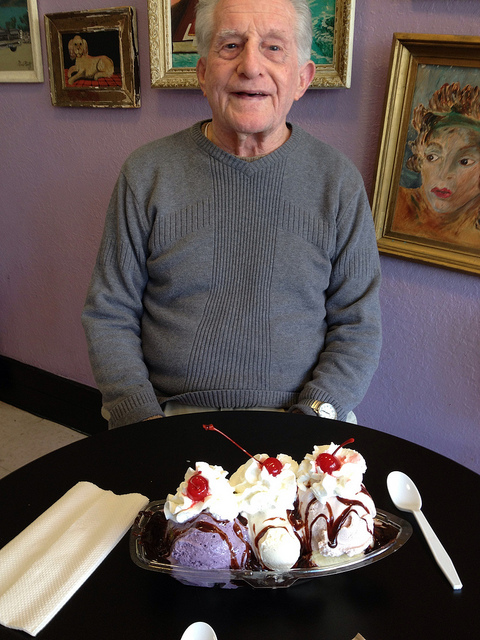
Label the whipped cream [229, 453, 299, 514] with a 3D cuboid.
[{"bbox_3d":[0.027,0.156,0.555,0.056,0.049,0.066,-13,22,-40],"label":"whipped cream"}]

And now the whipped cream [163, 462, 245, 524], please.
[{"bbox_3d":[-0.033,0.171,0.524,0.077,0.046,0.059,3,30,2],"label":"whipped cream"}]

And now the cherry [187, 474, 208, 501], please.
[{"bbox_3d":[-0.041,0.162,0.510,0.019,0.016,0.019,-2,30,-6],"label":"cherry"}]

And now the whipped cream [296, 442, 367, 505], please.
[{"bbox_3d":[0.097,0.150,0.567,0.072,0.051,0.055,-5,18,-39],"label":"whipped cream"}]

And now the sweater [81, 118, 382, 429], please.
[{"bbox_3d":[0.000,-0.109,1.273,0.695,0.667,0.456,4,22,1],"label":"sweater"}]
